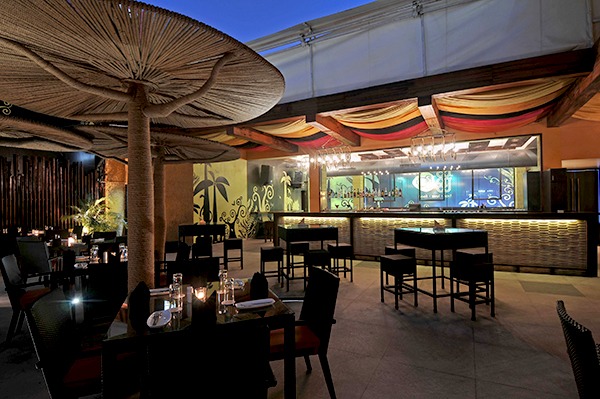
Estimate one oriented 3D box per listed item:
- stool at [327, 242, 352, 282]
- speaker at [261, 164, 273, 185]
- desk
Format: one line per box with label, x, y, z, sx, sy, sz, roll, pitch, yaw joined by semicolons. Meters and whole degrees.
stool;0.826;1.286;8.241;0.367;0.522;0.338;2;-7;14
speaker;-1.346;-0.986;16.375;0.257;0.815;1.225;-3;-3;9
desk;2.436;1.182;7.219;1.359;1.117;1.010;1;-7;-32
